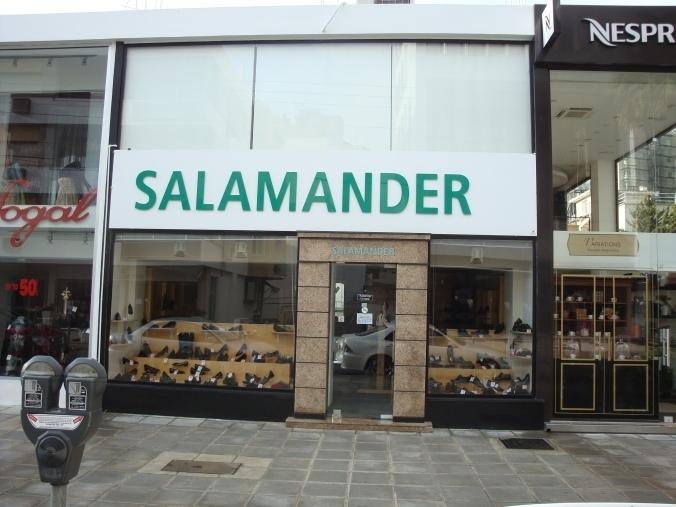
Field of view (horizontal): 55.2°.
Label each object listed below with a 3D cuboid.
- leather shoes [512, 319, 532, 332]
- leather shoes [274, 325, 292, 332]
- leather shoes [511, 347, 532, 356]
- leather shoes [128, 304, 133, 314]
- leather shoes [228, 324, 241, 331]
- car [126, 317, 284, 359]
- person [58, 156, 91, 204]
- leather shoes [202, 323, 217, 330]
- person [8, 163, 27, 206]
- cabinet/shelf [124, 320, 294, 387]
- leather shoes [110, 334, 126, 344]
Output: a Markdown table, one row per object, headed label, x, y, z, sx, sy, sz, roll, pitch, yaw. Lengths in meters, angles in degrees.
| label | x | y | z | sx | sy | sz | roll | pitch | yaw |
| --- | --- | --- | --- | --- | --- | --- | --- | --- | --- |
| leather shoes | 3.496 | 1.358 | 12.062 | 0.437 | 0.243 | 0.134 | -6 | -8 | 34 |
| leather shoes | -1.045 | 1.411 | 12.213 | 0.382 | 0.161 | 0.117 | -2 | 0 | 4 |
| leather shoes | 3.437 | 1.830 | 12.040 | 0.250 | 0.096 | 0.155 | 2 | -5 | 2 |
| leather shoes | -4.065 | 1.091 | 12.633 | 0.091 | 0.157 | 0.125 | -2 | 5 | -10 |
| leather shoes | -1.988 | 1.425 | 12.415 | 0.187 | 0.061 | 0.110 | -2 | 1 | 5 |
| car | -2.100 | 1.831 | 12.701 | 3.942 | 0.962 | 1.070 | -1 | -2 | 0 |
| person | -5.379 | -1.503 | 13.080 | 0.756 | 0.981 | 0.379 | 4 | 8 | 23 |
| leather shoes | -2.491 | 1.412 | 12.545 | 0.320 | 0.122 | 0.104 | -2 | -1 | 3 |
| person | -6.636 | -1.463 | 13.293 | 0.534 | 0.826 | 0.295 | 5 | 9 | 26 |
| cabinet/shelf | -2.428 | 1.953 | 12.692 | 2.842 | 1.304 | 0.600 | -1 | -3 | 8 |
| leather shoes | -4.288 | 1.660 | 12.533 | 0.255 | 0.116 | 0.153 | 1 | -3 | -14 |
